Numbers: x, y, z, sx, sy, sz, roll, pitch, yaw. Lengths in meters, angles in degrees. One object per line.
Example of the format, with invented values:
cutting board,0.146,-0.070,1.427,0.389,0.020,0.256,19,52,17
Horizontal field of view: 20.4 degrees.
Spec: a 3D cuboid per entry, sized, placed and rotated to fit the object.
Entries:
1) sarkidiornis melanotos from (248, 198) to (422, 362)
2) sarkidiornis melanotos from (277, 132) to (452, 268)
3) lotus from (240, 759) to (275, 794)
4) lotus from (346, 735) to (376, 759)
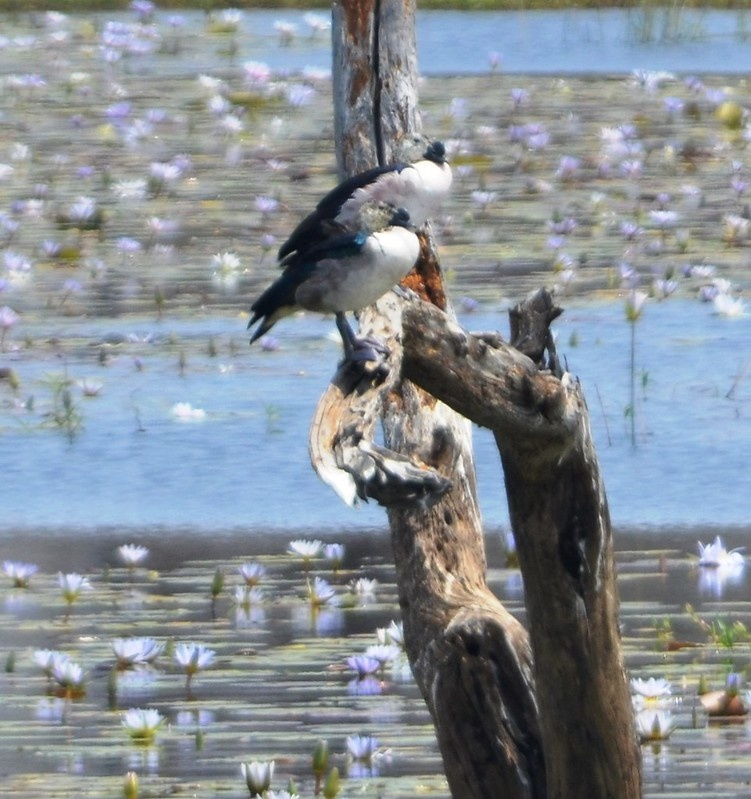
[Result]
sarkidiornis melanotos,-0.146,-0.348,7.063,0.247,0.526,0.617,1,-8,-44
sarkidiornis melanotos,-0.060,-0.682,7.267,0.713,0.365,0.241,-9,-7,23
lotus,-0.415,1.311,7.193,0.122,0.116,0.119,-1,0,-16
lotus,-0.061,1.243,7.382,0.086,0.040,0.085,-4,-14,37
